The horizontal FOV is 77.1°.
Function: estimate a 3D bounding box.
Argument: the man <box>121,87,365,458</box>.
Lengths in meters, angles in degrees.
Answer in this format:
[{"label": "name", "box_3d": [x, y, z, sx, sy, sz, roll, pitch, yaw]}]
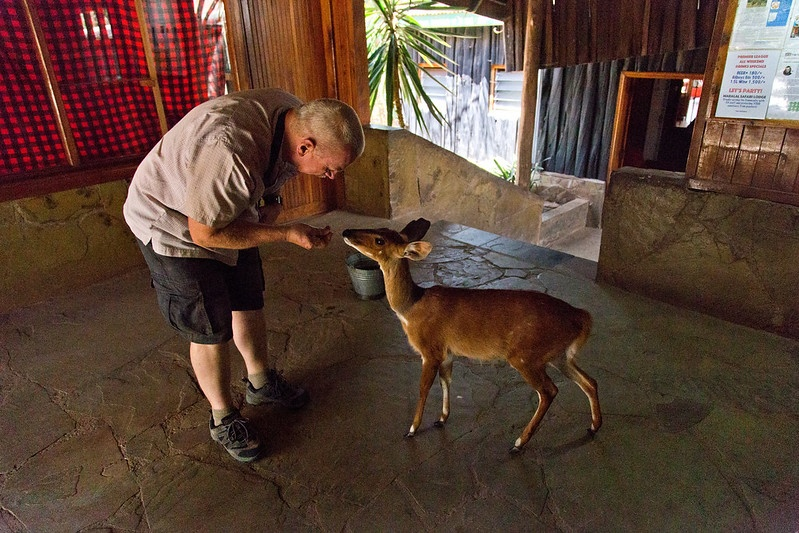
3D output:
[{"label": "man", "box_3d": [-1.263, 0.117, 4.149, 1.832, 2.853, 1.343, 11, 25, 10]}]

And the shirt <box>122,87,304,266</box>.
[{"label": "shirt", "box_3d": [-1.463, -0.590, 3.621, 0.651, 0.944, 0.901, 13, 48, -40]}]

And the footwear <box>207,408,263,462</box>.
[{"label": "footwear", "box_3d": [-1.283, 1.365, 4.050, 0.545, 0.252, 0.250, 35, 46, 17]}]

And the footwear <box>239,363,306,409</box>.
[{"label": "footwear", "box_3d": [-1.084, 1.077, 4.444, 0.566, 0.296, 0.277, 1, 17, 1]}]
